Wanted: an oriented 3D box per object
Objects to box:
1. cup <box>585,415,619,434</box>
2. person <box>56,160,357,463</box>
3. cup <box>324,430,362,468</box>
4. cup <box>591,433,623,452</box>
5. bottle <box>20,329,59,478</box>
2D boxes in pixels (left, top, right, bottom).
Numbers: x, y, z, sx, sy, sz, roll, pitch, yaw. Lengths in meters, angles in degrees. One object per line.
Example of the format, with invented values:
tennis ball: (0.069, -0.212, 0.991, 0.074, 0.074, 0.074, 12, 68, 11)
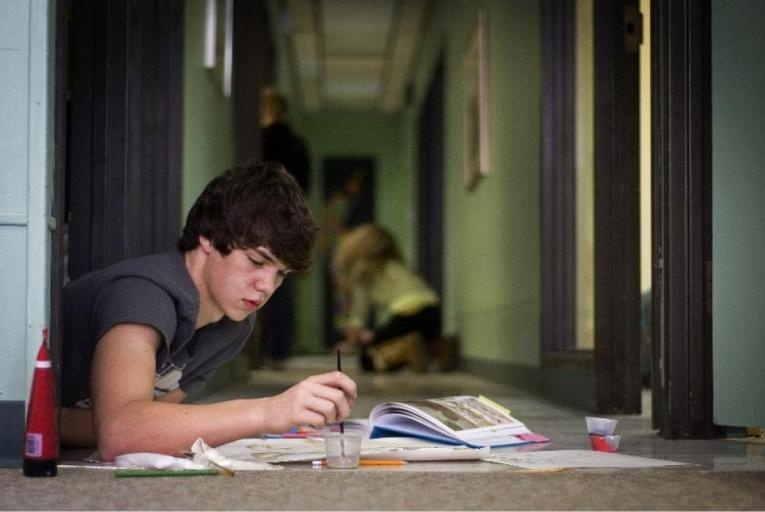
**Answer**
cup: (0.574, 0.449, 2.051, 0.074, 0.046, 0.081, 3, -15, 1)
person: (-0.458, 0.115, 1.956, 0.629, 0.718, 0.620, 1, 0, -23)
cup: (-0.089, 0.445, 1.809, 0.080, 0.054, 0.079, -1, -7, 0)
cup: (0.570, 0.479, 2.002, 0.049, 0.044, 0.056, 1, -16, 0)
bottle: (-0.746, 0.339, 1.715, 0.065, 0.286, 0.031, 0, 1, -22)
